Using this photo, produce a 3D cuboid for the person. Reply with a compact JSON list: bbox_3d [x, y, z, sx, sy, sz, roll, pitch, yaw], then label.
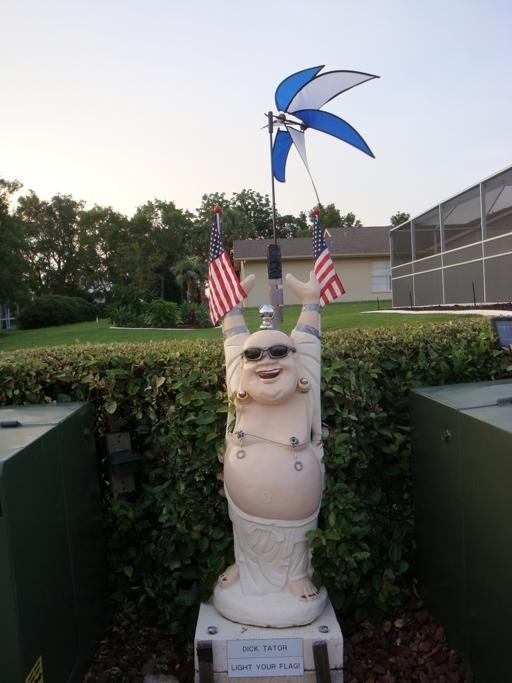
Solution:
[{"bbox_3d":[0.080,0.480,2.896,0.535,1.654,0.616,-3,4,25],"label":"person"}]
